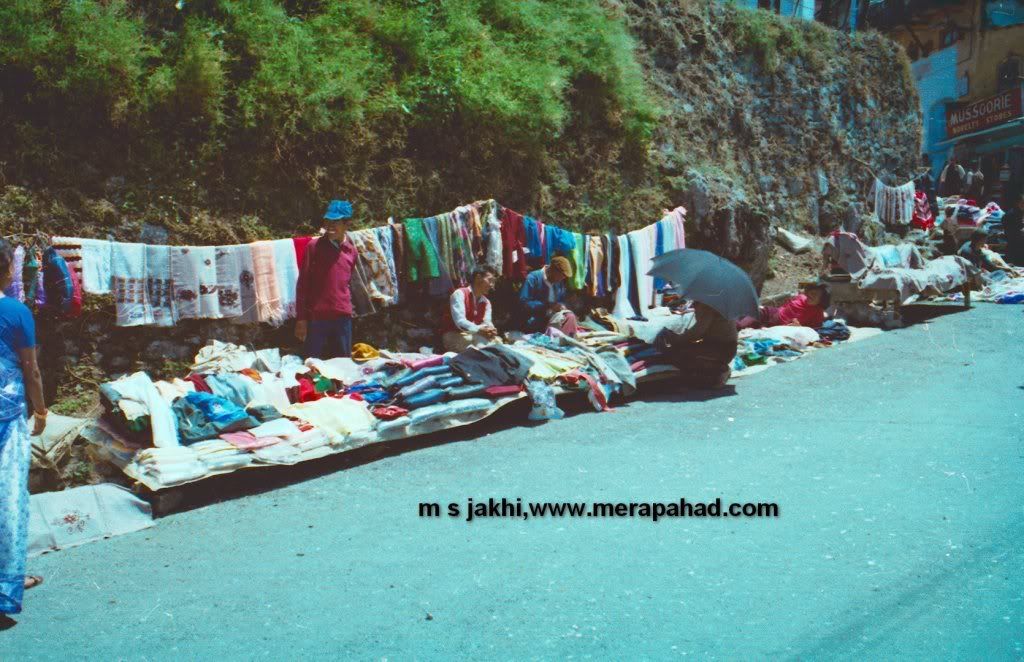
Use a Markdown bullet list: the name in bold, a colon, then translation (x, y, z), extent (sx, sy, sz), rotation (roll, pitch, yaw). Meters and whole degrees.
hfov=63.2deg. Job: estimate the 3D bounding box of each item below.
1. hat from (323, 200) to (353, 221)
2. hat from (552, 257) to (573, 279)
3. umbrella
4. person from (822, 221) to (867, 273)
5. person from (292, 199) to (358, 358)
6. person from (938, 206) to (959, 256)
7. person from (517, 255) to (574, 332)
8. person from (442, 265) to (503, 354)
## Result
- **hat**: translation (-2.334, -1.675, 11.656), extent (0.350, 0.251, 0.492), rotation (2, 3, 15)
- **hat**: translation (0.813, -0.996, 13.087), extent (0.293, 0.305, 0.223), rotation (-6, 14, -15)
- **umbrella**: translation (2.719, -0.722, 11.474), extent (1.169, 0.411, 1.141), rotation (19, 29, -6)
- **person**: translation (6.557, -1.466, 16.345), extent (0.666, 0.706, 0.975), rotation (-4, -6, 24)
- **person**: translation (-2.565, -0.687, 11.558), extent (0.882, 2.138, 0.538), rotation (-6, 15, -15)
- **person**: translation (11.012, -2.501, 20.785), extent (0.414, 1.236, 2.306), rotation (5, 15, 27)
- **person**: translation (0.523, -0.575, 13.077), extent (0.852, 1.099, 0.387), rotation (-11, 16, -31)
- **person**: translation (-0.607, -0.305, 12.232), extent (0.799, 1.268, 0.506), rotation (-3, 14, -3)
